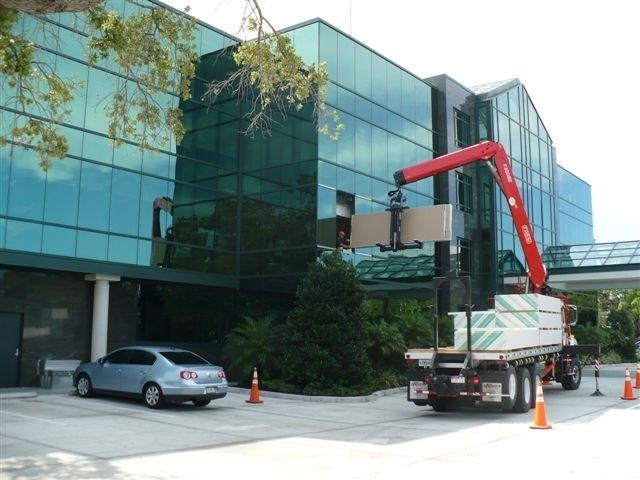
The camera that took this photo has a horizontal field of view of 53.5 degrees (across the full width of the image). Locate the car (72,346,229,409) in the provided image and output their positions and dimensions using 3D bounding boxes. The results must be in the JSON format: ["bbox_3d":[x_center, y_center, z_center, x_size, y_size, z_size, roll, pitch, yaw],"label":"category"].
[{"bbox_3d":[-5.599,4.335,20.323,5.544,1.832,1.722,-8,-12,35],"label":"car"}]

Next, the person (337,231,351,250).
[{"bbox_3d":[0.982,-0.039,27.425,0.647,0.897,0.265,5,-11,-31],"label":"person"}]
